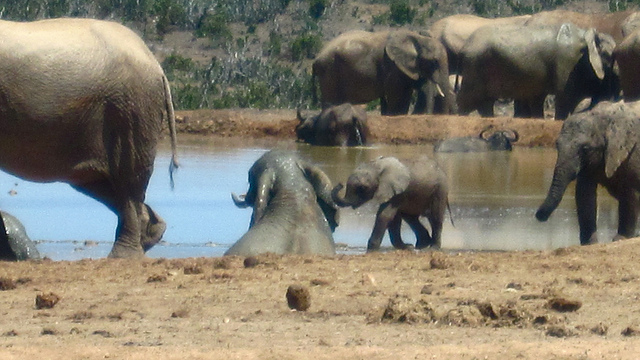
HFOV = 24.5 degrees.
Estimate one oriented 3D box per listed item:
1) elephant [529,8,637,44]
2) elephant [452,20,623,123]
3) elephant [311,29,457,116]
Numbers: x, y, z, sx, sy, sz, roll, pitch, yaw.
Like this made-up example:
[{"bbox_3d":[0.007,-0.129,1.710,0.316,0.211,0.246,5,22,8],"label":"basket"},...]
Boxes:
[{"bbox_3d":[8.123,-4.530,45.665,2.948,1.573,1.369,-4,38,-4],"label":"elephant"},{"bbox_3d":[6.891,-3.465,45.636,5.828,3.243,2.550,0,13,10],"label":"elephant"},{"bbox_3d":[2.263,-3.165,49.488,5.151,3.490,2.536,0,6,13],"label":"elephant"}]
